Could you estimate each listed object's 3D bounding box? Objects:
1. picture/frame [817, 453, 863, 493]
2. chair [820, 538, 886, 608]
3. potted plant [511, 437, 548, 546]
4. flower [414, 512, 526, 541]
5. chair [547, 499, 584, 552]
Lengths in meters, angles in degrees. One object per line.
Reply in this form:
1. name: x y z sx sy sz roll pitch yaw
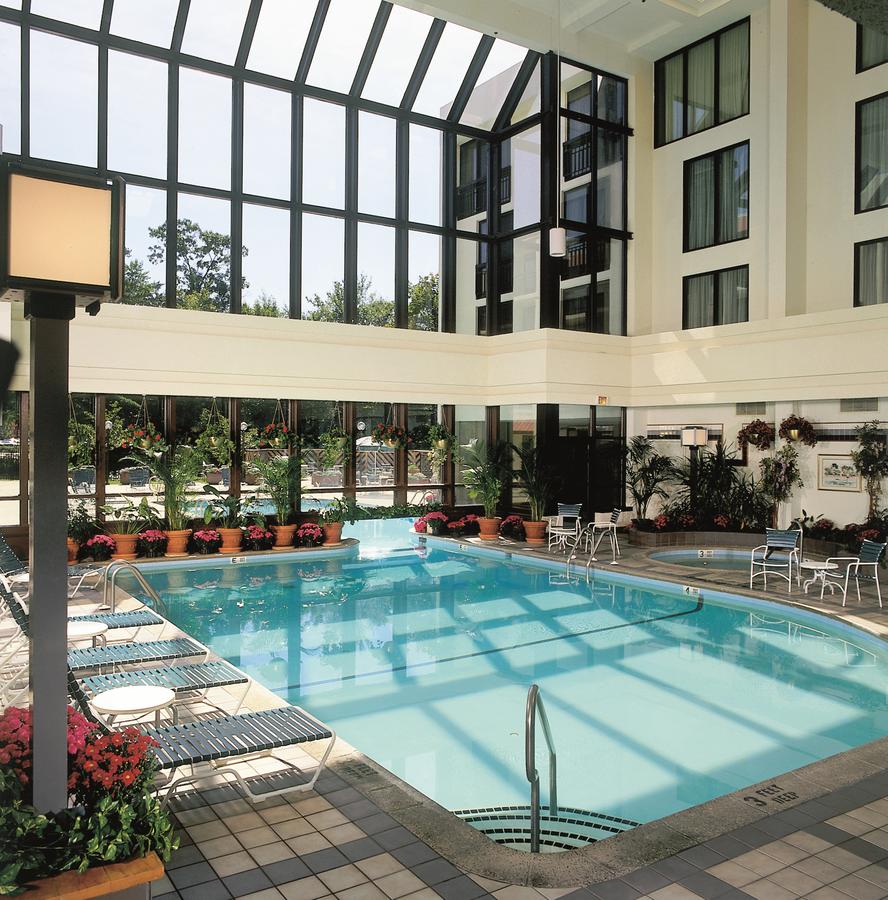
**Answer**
1. picture/frame: 7.038 0.406 13.024 0.024 0.696 0.673 -3 4 -29
2. chair: 5.683 1.729 10.158 0.792 1.112 0.687 2 -4 -23
3. potted plant: 1.699 0.804 15.151 0.471 1.759 1.218 -2 1 -18
4. flower: 0.504 1.559 15.215 2.342 0.570 0.912 -2 1 7
5. chair: 2.246 1.448 13.921 0.855 1.154 0.832 -1 -4 23
